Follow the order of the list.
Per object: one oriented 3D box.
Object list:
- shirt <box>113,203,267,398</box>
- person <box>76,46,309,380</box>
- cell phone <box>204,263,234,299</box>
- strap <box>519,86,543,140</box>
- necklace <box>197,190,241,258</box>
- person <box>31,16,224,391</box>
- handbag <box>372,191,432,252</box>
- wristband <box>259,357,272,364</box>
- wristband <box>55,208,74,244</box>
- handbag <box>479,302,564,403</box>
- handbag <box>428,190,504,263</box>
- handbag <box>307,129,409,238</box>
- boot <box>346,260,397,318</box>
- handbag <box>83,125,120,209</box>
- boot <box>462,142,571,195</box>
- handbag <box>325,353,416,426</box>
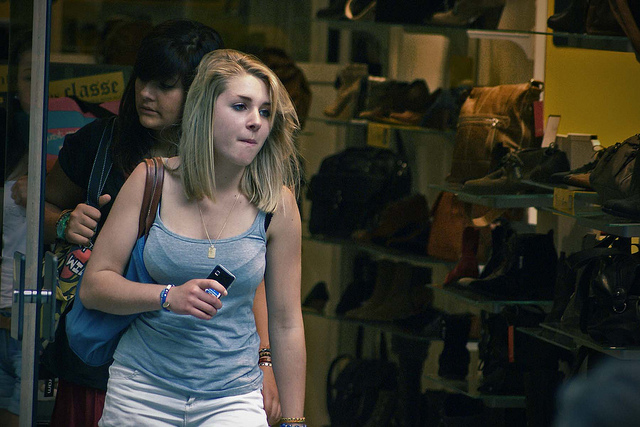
[{"bbox_3d":[-0.414,0.246,2.717,0.482,0.743,0.381,9,3,0],"label":"shirt"},{"bbox_3d":[-0.359,0.011,2.622,0.759,1.067,0.295,6,0,-22],"label":"person"},{"bbox_3d":[-0.322,0.208,2.527,0.056,0.108,0.011,35,-31,-12],"label":"cell phone"},{"bbox_3d":[0.920,-0.452,3.535,0.131,0.197,0.058,5,4,44],"label":"strap"},{"bbox_3d":[-0.334,0.043,2.618,0.106,0.191,0.084,-9,15,-39],"label":"necklace"},{"bbox_3d":[-0.458,0.004,3.125,0.316,1.253,1.255,10,1,0],"label":"person"},{"bbox_3d":[0.390,0.057,3.839,0.068,0.257,0.247,4,-34,-46],"label":"handbag"},{"bbox_3d":[-0.196,0.517,2.852,0.055,0.027,0.018,6,-4,-8],"label":"wristband"},{"bbox_3d":[-0.989,0.049,3.084,0.043,0.120,0.087,4,2,10],"label":"wristband"},{"bbox_3d":[0.857,0.618,3.563,0.385,0.413,0.099,-12,-5,30],"label":"handbag"},{"bbox_3d":[0.634,0.072,3.672,0.322,0.363,0.226,18,6,6],"label":"handbag"},{"bbox_3d":[0.205,-0.134,4.090,0.216,0.542,0.522,5,-1,-29],"label":"handbag"},{"bbox_3d":[0.247,0.345,3.926,0.284,0.237,0.113,1,0,22],"label":"boot"},{"bbox_3d":[-0.835,-0.179,3.126,0.091,0.414,0.055,12,-14,-4],"label":"handbag"},{"bbox_3d":[0.882,-0.187,3.427,0.375,0.217,0.173,4,7,11],"label":"boot"},{"bbox_3d":[0.228,0.911,4.048,0.134,0.391,0.668,5,2,-28],"label":"handbag"}]
